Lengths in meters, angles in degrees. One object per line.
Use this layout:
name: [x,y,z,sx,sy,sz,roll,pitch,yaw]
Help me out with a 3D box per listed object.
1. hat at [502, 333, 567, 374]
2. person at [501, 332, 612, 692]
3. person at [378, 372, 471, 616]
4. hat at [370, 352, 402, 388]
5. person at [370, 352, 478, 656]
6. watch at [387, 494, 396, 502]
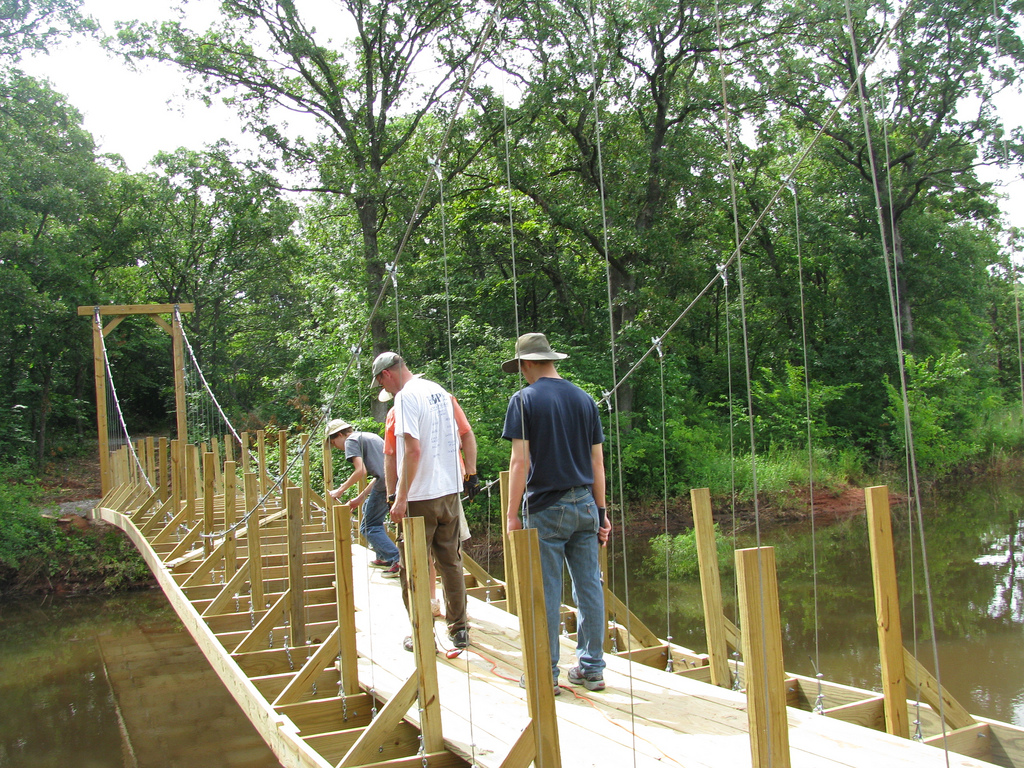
hat: [0.123,-0.358,9.359,0.412,0.233,0.410,-9,-16,-30]
person: [0.431,1.185,9.181,0.879,3.243,0.728,-5,10,5]
person: [-0.818,1.120,9.956,1.003,2.867,0.792,-1,-3,-39]
hat: [-1.253,-0.178,9.928,0.365,0.225,0.263,-29,1,32]
person: [-0.815,1.178,9.970,0.929,2.960,0.903,-3,-1,-29]
watch: [-1.179,1.118,9.932,0.069,0.077,0.072,5,-6,-24]
